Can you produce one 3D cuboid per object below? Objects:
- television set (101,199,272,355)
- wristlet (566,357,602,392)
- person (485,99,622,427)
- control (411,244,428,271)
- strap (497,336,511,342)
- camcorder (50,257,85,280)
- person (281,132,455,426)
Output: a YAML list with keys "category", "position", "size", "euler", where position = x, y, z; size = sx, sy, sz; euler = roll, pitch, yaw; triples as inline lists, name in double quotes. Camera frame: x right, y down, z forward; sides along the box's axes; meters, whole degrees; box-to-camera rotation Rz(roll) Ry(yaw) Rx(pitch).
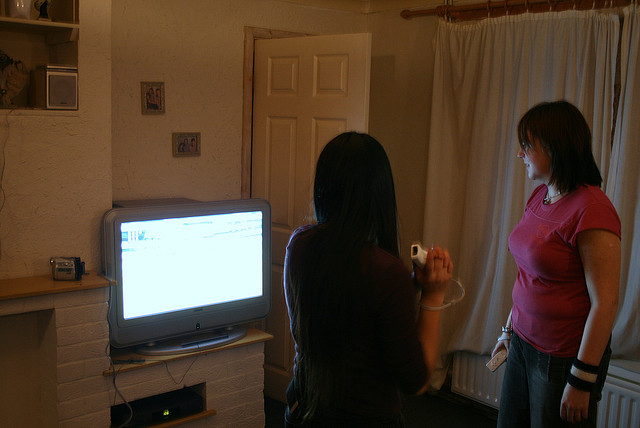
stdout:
- category: "television set"
  position: [-0.892, 0.383, 3.452]
  size: [1.091, 0.982, 0.579]
  euler: [-5, 12, -27]
- category: "wristlet"
  position: [1.178, 0.725, 2.331]
  size: [0.140, 0.153, 0.136]
  euler: [9, 2, -14]
- category: "person"
  position: [1.149, 0.303, 2.478]
  size: [0.328, 1.699, 0.575]
  euler: [-7, 9, -38]
- category: "control"
  position: [0.364, 0.158, 1.876]
  size: [0.034, 0.050, 0.118]
  euler: [0, -29, 38]
- category: "strap"
  position: [1.016, 0.686, 2.766]
  size: [0.018, 0.035, 0.061]
  euler: [-8, 10, -44]
- category: "camcorder"
  position: [-1.439, 0.309, 2.870]
  size: [0.152, 0.116, 0.115]
  euler: [1, 3, -18]
- category: "person"
  position: [0.157, 0.279, 1.874]
  size: [0.641, 1.156, 0.269]
  euler: [0, 7, 15]
